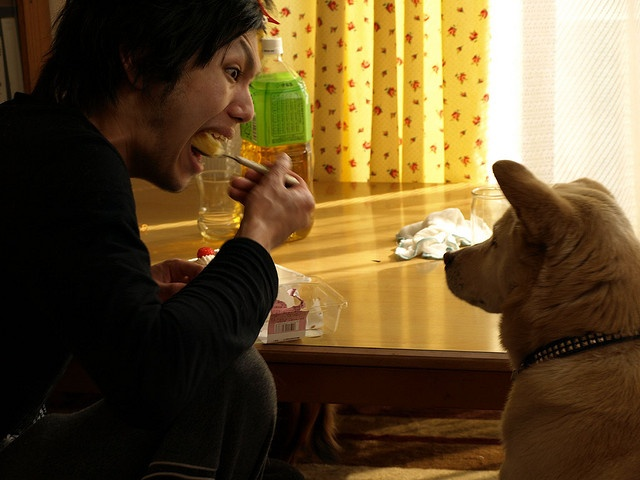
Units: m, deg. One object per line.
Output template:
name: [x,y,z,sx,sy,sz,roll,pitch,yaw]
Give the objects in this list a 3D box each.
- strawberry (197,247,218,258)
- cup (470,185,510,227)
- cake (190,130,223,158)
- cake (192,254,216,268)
strawberry: [-0.306,0.037,1.543,0.043,0.027,0.032,-2,-20,14]
cup: [0.442,-0.099,1.529,0.125,0.115,0.117,-2,19,1]
cake: [-0.225,-0.191,1.122,0.042,0.017,0.041,24,-6,24]
cake: [-0.296,0.052,1.449,0.073,0.033,0.076,-1,3,1]
